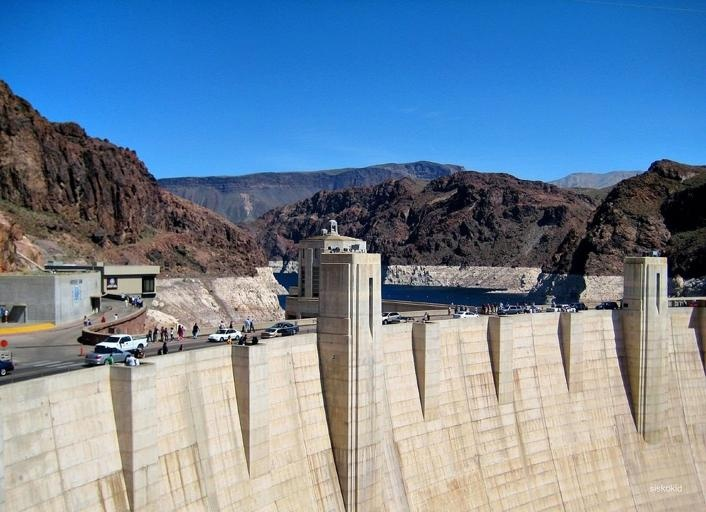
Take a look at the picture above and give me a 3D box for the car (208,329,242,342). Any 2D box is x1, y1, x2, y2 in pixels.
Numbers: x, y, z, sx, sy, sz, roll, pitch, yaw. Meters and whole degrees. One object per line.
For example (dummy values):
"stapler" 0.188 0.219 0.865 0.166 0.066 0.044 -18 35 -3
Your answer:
"car" -8.495 5.309 43.178 2.061 0.609 0.867 2 -1 -20

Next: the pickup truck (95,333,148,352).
"pickup truck" -13.518 5.374 38.258 1.657 0.912 2.752 -1 -6 28

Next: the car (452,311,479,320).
"car" 8.247 4.388 47.755 2.104 0.658 0.944 -6 9 -33
